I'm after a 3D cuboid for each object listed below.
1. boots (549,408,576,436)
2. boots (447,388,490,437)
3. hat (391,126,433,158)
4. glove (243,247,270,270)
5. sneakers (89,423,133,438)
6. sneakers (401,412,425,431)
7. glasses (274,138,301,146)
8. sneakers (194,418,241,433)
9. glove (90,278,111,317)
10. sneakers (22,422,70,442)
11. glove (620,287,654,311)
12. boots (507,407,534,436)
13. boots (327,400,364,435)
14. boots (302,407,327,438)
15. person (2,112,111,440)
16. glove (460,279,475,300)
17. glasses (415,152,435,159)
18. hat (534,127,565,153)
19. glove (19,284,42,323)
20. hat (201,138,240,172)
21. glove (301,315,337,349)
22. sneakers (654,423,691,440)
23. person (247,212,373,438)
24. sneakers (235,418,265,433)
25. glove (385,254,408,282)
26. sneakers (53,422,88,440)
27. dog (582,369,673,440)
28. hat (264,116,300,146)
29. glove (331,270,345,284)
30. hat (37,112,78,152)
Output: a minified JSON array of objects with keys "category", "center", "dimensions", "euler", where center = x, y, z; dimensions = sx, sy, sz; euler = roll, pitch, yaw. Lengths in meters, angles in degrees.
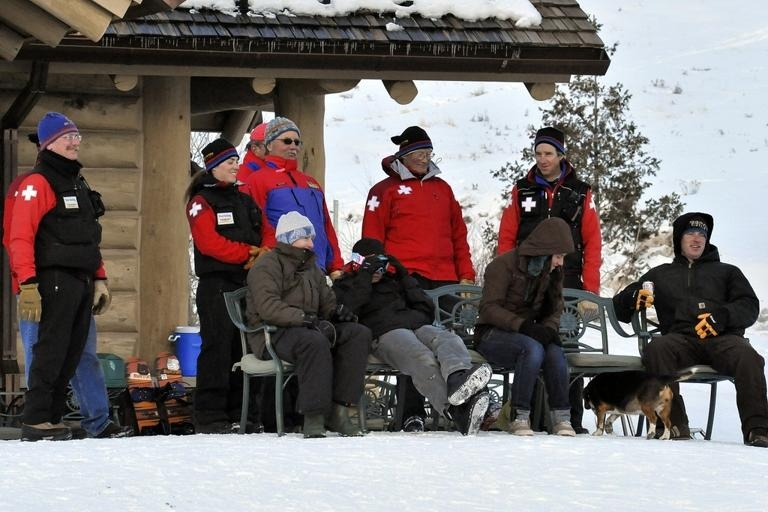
[{"category":"boots","center":[1.489,1.399,9.354],"dimensions":[0.173,0.205,0.289],"euler":[0,11,-10]},{"category":"boots","center":[0.713,1.270,9.266],"dimensions":[0.205,0.523,0.244],"euler":[-4,24,-33]},{"category":"hat","center":[0.283,-1.091,10.633],"dimensions":[0.371,0.260,0.263],"euler":[-21,3,11]},{"category":"glove","center":[-1.114,0.015,9.887],"dimensions":[0.166,0.217,0.079],"euler":[39,-3,-38]},{"category":"sneakers","center":[-2.282,1.483,9.490],"dimensions":[0.349,0.127,0.120],"euler":[-3,-2,-10]},{"category":"sneakers","center":[0.268,1.520,10.155],"dimensions":[0.139,0.152,0.169],"euler":[-3,45,5]},{"category":"glasses","center":[-0.837,-1.051,10.326],"dimensions":[0.212,0.076,0.100],"euler":[-9,14,-43]},{"category":"sneakers","center":[-1.455,1.519,9.881],"dimensions":[0.427,0.168,0.139],"euler":[4,-12,2]},{"category":"glove","center":[-2.408,0.359,9.620],"dimensions":[0.194,0.267,0.151],"euler":[1,14,-13]},{"category":"sneakers","center":[-2.719,1.443,9.227],"dimensions":[0.428,0.167,0.137],"euler":[-1,-3,-16]},{"category":"glove","center":[2.260,0.384,9.906],"dimensions":[0.173,0.194,0.097],"euler":[3,0,23]},{"category":"boots","center":[1.142,1.388,9.407],"dimensions":[0.164,0.230,0.293],"euler":[1,11,-2]},{"category":"boots","center":[-0.329,1.332,9.233],"dimensions":[0.386,0.246,0.155],"euler":[6,10,32]},{"category":"boots","center":[-0.553,1.356,9.092],"dimensions":[0.174,0.215,0.169],"euler":[0,11,-6]},{"category":"person","center":[-2.726,0.149,9.265],"dimensions":[0.592,2.604,0.849],"euler":[5,12,21]},{"category":"glove","center":[0.775,0.304,10.513],"dimensions":[0.135,0.170,0.067],"euler":[0,-7,6]},{"category":"glasses","center":[0.364,-0.951,10.610],"dimensions":[0.104,0.033,0.104],"euler":[1,-4,-35]},{"category":"hat","center":[1.524,-1.098,10.452],"dimensions":[0.219,0.196,0.269],"euler":[9,-9,-6]},{"category":"glove","center":[-2.824,0.370,9.036],"dimensions":[0.155,0.307,0.091],"euler":[-3,12,-23]},{"category":"hat","center":[-1.492,-0.955,10.156],"dimensions":[0.353,0.262,0.327],"euler":[-19,0,-16]},{"category":"glove","center":[-0.508,0.585,9.223],"dimensions":[0.298,0.104,0.211],"euler":[38,24,-7]},{"category":"sneakers","center":[2.487,1.496,9.579],"dimensions":[0.389,0.157,0.130],"euler":[-2,-5,-1]},{"category":"person","center":[-0.611,0.588,9.337],"dimensions":[0.730,1.803,0.993],"euler":[-7,14,-38]},{"category":"sneakers","center":[-1.165,1.490,9.843],"dimensions":[0.281,0.086,0.124],"euler":[11,19,-1]},{"category":"glove","center":[0.106,0.113,9.775],"dimensions":[0.223,0.078,0.164],"euler":[32,-3,17]},{"category":"sneakers","center":[-2.546,1.467,9.339],"dimensions":[0.370,0.147,0.121],"euler":[7,-4,-2]},{"category":"dog","center":[2.043,1.274,9.580],"dimensions":[0.297,0.565,1.031],"euler":[20,-21,-39]},{"category":"hat","center":[-0.932,-1.151,10.386],"dimensions":[0.267,0.209,0.270],"euler":[-11,-1,39]},{"category":"glove","center":[-0.410,0.192,10.144],"dimensions":[0.109,0.108,0.128],"euler":[1,-11,-4]},{"category":"hat","center":[-2.692,-1.050,9.414],"dimensions":[0.363,0.323,0.314],"euler":[7,15,30]}]
